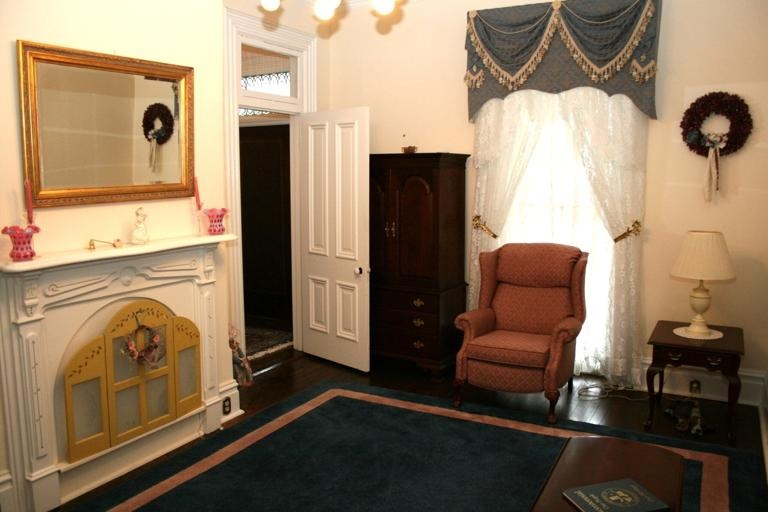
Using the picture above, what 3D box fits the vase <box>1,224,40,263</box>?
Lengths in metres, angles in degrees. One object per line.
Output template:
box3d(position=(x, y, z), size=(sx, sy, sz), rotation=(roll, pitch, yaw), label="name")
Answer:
box3d(position=(-2.396, -0.084, 3.691), size=(0.240, 0.263, 0.243), rotation=(1, 3, 17), label="vase")

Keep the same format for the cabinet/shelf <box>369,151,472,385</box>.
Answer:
box3d(position=(0.340, 0.075, 5.806), size=(1.035, 2.266, 0.674), rotation=(2, 10, 8), label="cabinet/shelf")

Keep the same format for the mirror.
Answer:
box3d(position=(-2.005, -0.961, 4.178), size=(0.062, 1.075, 1.215), rotation=(17, 19, 39), label="mirror")

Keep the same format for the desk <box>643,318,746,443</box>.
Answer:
box3d(position=(2.741, 1.100, 4.943), size=(0.717, 0.816, 0.629), rotation=(3, 11, 28), label="desk")

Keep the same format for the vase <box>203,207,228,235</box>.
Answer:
box3d(position=(-1.394, -0.296, 4.729), size=(0.215, 0.210, 0.216), rotation=(0, 3, 0), label="vase")

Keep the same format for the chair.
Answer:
box3d(position=(1.320, 0.636, 5.282), size=(1.122, 1.411, 1.157), rotation=(3, 6, 32), label="chair")
